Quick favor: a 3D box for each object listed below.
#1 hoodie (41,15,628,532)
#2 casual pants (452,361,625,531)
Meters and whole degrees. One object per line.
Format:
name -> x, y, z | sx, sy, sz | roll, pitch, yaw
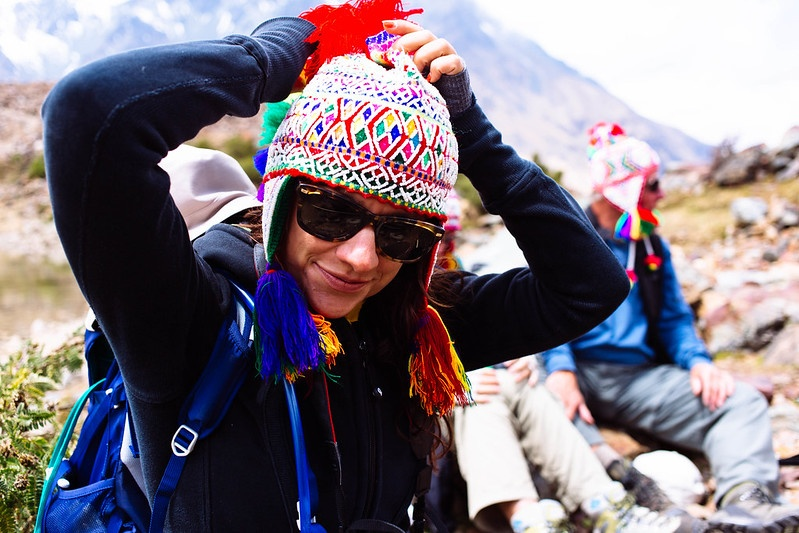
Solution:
hoodie -> -0.359, 0.040, 2.929 | 2.258, 2.222, 1.215 | 4, -26, -29
casual pants -> 0.923, 1.277, 4.788 | 1.247, 1.190, 0.371 | -1, -34, -14
